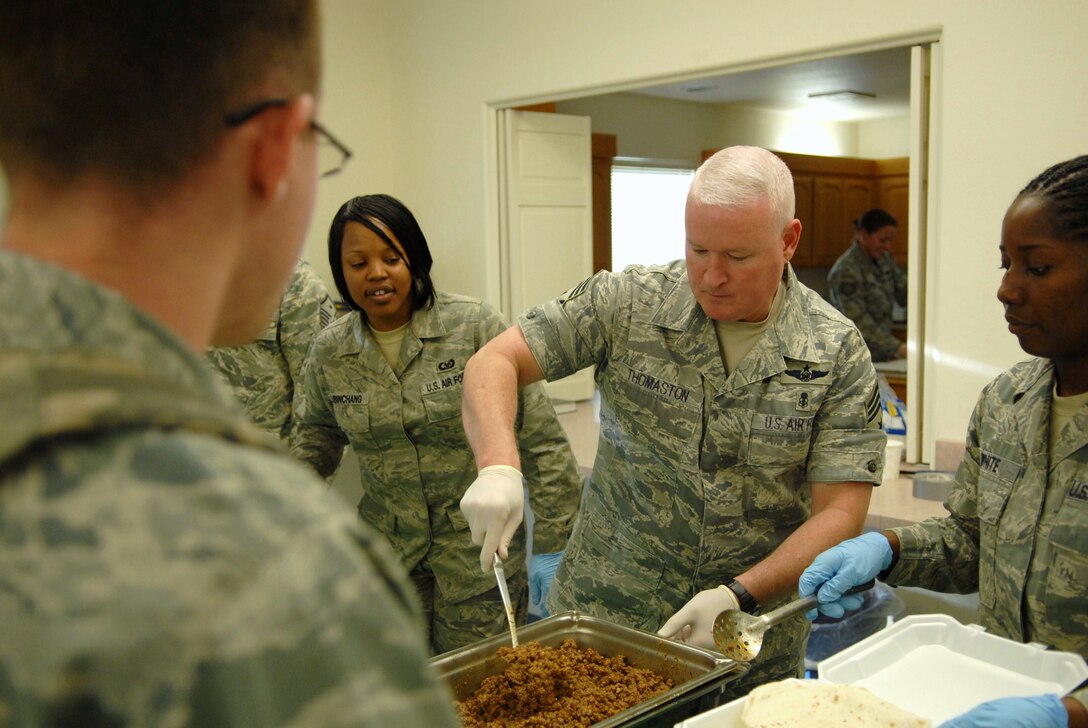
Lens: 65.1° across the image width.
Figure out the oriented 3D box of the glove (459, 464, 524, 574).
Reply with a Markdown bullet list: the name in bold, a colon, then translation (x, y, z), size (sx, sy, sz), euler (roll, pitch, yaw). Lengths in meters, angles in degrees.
- **glove**: translation (-0.105, 0.315, 1.681), size (0.119, 0.207, 0.211), euler (-1, 9, -3)

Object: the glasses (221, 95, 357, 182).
- **glasses**: translation (-0.180, -0.165, 0.613), size (0.049, 0.048, 0.013), euler (32, 61, 30)

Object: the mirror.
- **mirror**: translation (1.316, -0.728, 6.082), size (3.465, 3.193, 1.297), euler (-5, -31, 19)
